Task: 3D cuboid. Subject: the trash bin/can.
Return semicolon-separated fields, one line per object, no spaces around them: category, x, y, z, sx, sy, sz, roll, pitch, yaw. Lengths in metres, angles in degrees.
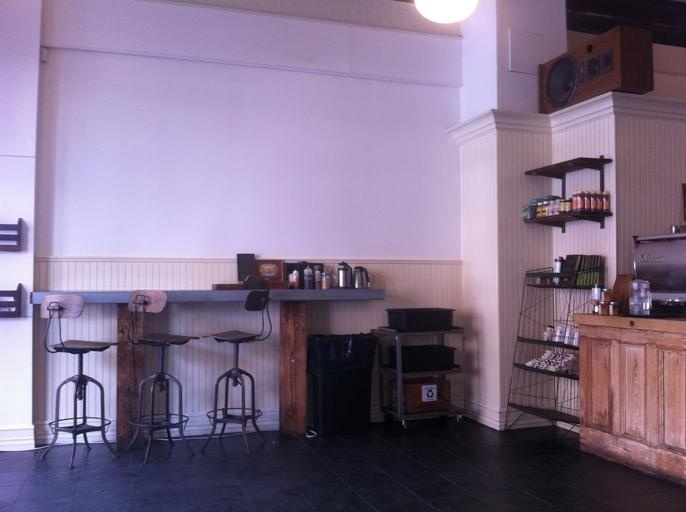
trash bin/can;0.075;1.307;6.779;0.842;1.237;0.977;1;-5;-6

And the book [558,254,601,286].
book;2.375;0.145;6.389;0.265;0.269;0.137;7;-2;38

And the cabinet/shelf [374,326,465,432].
cabinet/shelf;0.915;1.367;7.126;0.613;0.953;0.943;-3;-10;4

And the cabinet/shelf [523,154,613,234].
cabinet/shelf;2.327;-0.607;6.646;0.372;0.772;0.939;1;-1;-16

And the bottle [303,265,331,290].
bottle;-0.279;0.231;6.733;0.213;0.223;0.102;4;-9;-40

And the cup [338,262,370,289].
cup;0.125;0.200;6.871;0.384;0.279;0.309;-1;5;-7

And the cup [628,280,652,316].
cup;2.629;0.374;5.667;0.175;0.303;0.259;2;6;25

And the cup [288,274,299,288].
cup;-0.509;0.247;6.693;0.101;0.165;0.120;0;5;-1

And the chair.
chair;-1.921;1.220;6.244;1.453;1.106;0.565;0;2;-24

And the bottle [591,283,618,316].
bottle;2.490;0.422;6.052;0.157;0.295;0.298;1;0;18

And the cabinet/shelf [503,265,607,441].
cabinet/shelf;2.172;0.896;6.576;0.821;1.837;0.724;5;7;45
